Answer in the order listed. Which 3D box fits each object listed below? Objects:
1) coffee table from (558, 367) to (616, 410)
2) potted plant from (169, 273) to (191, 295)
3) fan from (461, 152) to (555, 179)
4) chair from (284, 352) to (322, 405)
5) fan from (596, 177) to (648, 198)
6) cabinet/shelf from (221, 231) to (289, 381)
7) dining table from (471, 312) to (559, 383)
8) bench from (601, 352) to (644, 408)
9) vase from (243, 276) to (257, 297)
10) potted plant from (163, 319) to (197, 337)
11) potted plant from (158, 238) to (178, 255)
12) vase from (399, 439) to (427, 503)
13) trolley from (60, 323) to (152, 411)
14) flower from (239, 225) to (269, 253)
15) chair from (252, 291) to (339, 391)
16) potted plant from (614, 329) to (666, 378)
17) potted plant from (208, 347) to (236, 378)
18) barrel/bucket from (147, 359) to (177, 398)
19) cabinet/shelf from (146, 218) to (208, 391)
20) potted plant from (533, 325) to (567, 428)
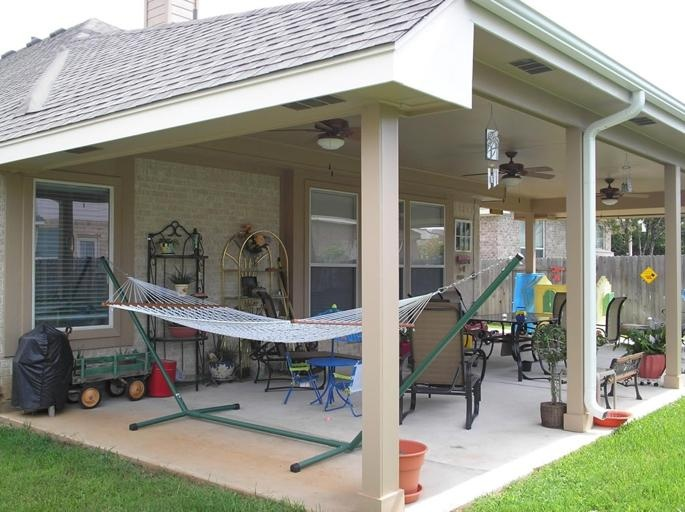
[{"bbox_3d":[2.628,1.427,6.285,0.602,0.546,0.601,-2,-2,32],"label":"coffee table"},{"bbox_3d":[-2.166,0.380,7.896,0.277,0.283,0.290,1,-7,-13],"label":"potted plant"},{"bbox_3d":[2.736,-1.300,8.967,0.882,0.295,0.797,1,-8,1],"label":"fan"},{"bbox_3d":[-0.497,1.484,7.167,0.484,0.592,0.437,8,0,-1],"label":"chair"},{"bbox_3d":[5.437,-1.336,11.397,0.602,0.217,0.585,2,-2,0],"label":"fan"},{"bbox_3d":[-1.339,0.726,8.802,0.580,2.311,0.765,3,2,41],"label":"cabinet/shelf"},{"bbox_3d":[2.821,1.431,9.609,1.276,1.239,1.374,1,1,-37],"label":"dining table"},{"bbox_3d":[3.233,1.405,6.870,0.573,0.790,0.629,4,2,28],"label":"bench"},{"bbox_3d":[-1.366,0.447,8.520,0.223,0.289,0.231,0,2,-10],"label":"vase"},{"bbox_3d":[-2.112,0.980,7.686,0.398,0.189,0.277,0,2,-17],"label":"potted plant"},{"bbox_3d":[-2.302,-0.118,7.735,0.198,0.197,0.213,-3,-3,26],"label":"potted plant"},{"bbox_3d":[0.510,1.615,4.363,0.203,0.386,0.505,1,2,7],"label":"vase"},{"bbox_3d":[-2.762,1.370,7.021,1.055,0.612,0.688,-1,1,-34],"label":"trolley"},{"bbox_3d":[-1.316,-0.248,8.652,0.446,0.435,0.229,-1,3,-25],"label":"flower"},{"bbox_3d":[-0.824,1.251,8.015,1.456,1.633,1.018,0,-2,-11],"label":"chair"},{"bbox_3d":[4.301,1.323,8.364,0.641,0.757,0.679,6,3,16],"label":"potted plant"},{"bbox_3d":[-1.687,1.513,8.130,0.368,0.423,0.325,0,2,-12],"label":"potted plant"},{"bbox_3d":[-2.207,1.526,7.396,0.465,0.469,0.451,1,-3,0],"label":"barrel/bucket"},{"bbox_3d":[-2.241,0.622,7.917,0.314,2.131,0.824,5,3,44],"label":"cabinet/shelf"},{"bbox_3d":[2.354,1.389,6.675,0.424,0.946,0.403,18,3,44],"label":"potted plant"}]
